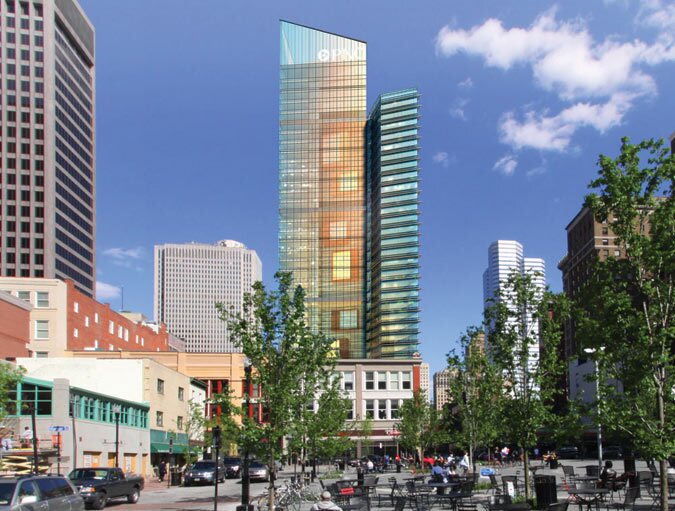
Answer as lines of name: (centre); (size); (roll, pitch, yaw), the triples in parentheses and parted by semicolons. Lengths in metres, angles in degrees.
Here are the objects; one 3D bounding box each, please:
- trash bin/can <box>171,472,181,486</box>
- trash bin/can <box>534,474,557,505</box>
trash bin/can: (-13.581, 19.286, 97.897); (1.053, 1.181, 0.850); (0, -10, -4)
trash bin/can: (13.205, 14.884, 72.076); (1.382, 2.080, 1.932); (-4, -6, 26)
